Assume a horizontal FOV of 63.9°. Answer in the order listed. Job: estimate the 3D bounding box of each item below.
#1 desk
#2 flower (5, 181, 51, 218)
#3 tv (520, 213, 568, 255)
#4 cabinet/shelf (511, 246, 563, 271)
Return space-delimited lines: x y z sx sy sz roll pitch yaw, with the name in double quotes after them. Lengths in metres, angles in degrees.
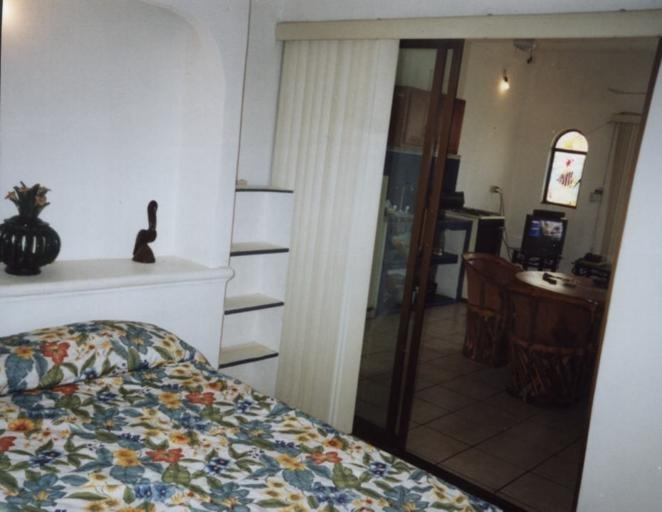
1.217 0.273 2.817 0.367 0.290 0.380 5 15 8 "desk"
-1.506 -0.281 2.652 0.196 0.179 0.218 -2 10 -31 "flower"
1.137 -0.120 2.804 0.173 0.207 0.108 7 16 23 "tv"
1.104 0.025 2.855 0.127 0.178 0.154 1 18 -2 "cabinet/shelf"
